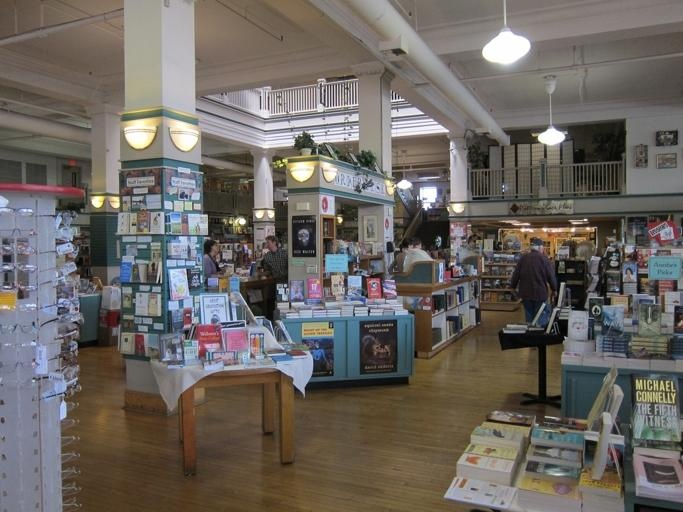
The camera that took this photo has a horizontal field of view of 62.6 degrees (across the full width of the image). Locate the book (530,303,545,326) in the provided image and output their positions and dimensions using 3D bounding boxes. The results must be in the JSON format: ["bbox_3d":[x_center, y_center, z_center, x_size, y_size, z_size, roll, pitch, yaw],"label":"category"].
[{"bbox_3d":[2.717,0.796,7.781,0.101,0.410,0.397,5,5,22],"label":"book"}]

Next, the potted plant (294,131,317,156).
[{"bbox_3d":[-0.628,-1.790,8.872,0.367,0.399,0.365,-7,10,-39],"label":"potted plant"}]

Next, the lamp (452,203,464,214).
[{"bbox_3d":[3.470,-1.429,16.769,0.343,0.299,0.102,2,5,20],"label":"lamp"}]

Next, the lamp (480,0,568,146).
[{"bbox_3d":[4.055,-4.052,12.416,0.542,2.232,2.208,-9,40,38],"label":"lamp"}]

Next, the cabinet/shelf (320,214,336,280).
[{"bbox_3d":[-0.208,-0.151,8.871,0.192,0.963,0.442,0,4,1],"label":"cabinet/shelf"}]

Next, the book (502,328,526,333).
[{"bbox_3d":[2.109,0.907,6.857,0.271,0.034,0.256,3,6,36],"label":"book"}]

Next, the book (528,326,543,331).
[{"bbox_3d":[2.377,0.885,6.905,0.200,0.028,0.135,0,5,-3],"label":"book"}]

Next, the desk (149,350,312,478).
[{"bbox_3d":[-1.143,1.295,5.755,1.309,0.867,1.178,-2,4,-18],"label":"desk"}]

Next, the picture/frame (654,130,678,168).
[{"bbox_3d":[8.931,-2.943,15.416,0.572,1.078,0.252,2,5,25],"label":"picture/frame"}]

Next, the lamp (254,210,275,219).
[{"bbox_3d":[-2.531,-1.382,18.432,0.641,0.311,0.403,-2,5,-20],"label":"lamp"}]

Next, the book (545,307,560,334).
[{"bbox_3d":[2.544,0.781,6.740,0.211,0.293,0.121,-4,6,-42],"label":"book"}]

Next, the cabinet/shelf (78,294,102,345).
[{"bbox_3d":[-4.607,1.148,10.243,0.256,0.917,0.498,3,5,33],"label":"cabinet/shelf"}]
